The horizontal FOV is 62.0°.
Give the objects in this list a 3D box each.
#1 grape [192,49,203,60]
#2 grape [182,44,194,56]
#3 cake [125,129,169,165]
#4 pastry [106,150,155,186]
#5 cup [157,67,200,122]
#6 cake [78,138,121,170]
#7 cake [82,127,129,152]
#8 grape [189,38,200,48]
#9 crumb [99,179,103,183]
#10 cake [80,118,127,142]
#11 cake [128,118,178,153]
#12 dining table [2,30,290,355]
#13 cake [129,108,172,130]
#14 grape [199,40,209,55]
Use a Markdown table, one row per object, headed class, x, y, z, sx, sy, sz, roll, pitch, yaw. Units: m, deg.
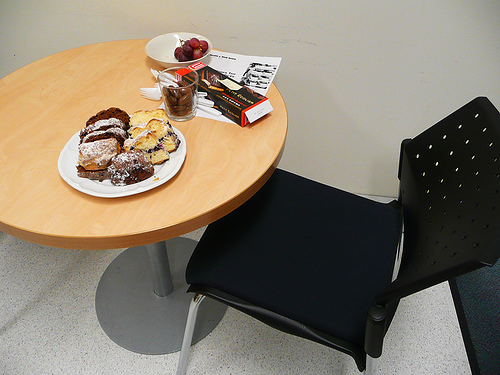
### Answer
| class | x | y | z | sx | sy | sz | roll | pitch | yaw |
| --- | --- | --- | --- | --- | --- | --- | --- | --- | --- |
| grape | -0.204 | -0.514 | 1.608 | 0.034 | 0.020 | 0.039 | -16 | 94 | -16 |
| grape | -0.239 | -0.525 | 1.596 | 0.026 | 0.031 | 0.038 | 11 | 41 | 20 |
| cake | -0.295 | -0.104 | 1.249 | 0.101 | 0.033 | 0.102 | 47 | 62 | -9 |
| pastry | -0.348 | -0.056 | 1.202 | 0.108 | 0.038 | 0.099 | -22 | 94 | -9 |
| cup | -0.243 | -0.315 | 1.440 | 0.125 | 0.152 | 0.148 | 0 | 39 | -3 |
| cake | -0.439 | -0.099 | 1.212 | 0.092 | 0.031 | 0.089 | -18 | 67 | -8 |
| cake | -0.450 | -0.161 | 1.336 | 0.123 | 0.179 | 0.068 | 2 | 88 | 4 |
| grape | -0.211 | -0.553 | 1.597 | 0.028 | 0.038 | 0.037 | 4 | 83 | 2 |
| crumb | -0.439 | -0.019 | 1.221 | 0.010 | 0.003 | 0.008 | 5 | 55 | -10 |
| cake | -0.455 | -0.187 | 1.281 | 0.100 | 0.037 | 0.082 | -22 | 31 | 2 |
| cake | -0.294 | -0.156 | 1.247 | 0.107 | 0.033 | 0.117 | -27 | 104 | 15 |
| dining table | -0.366 | 0.062 | 1.464 | 0.682 | 0.785 | 0.785 | 24 | 48 | 17 |
| cake | -0.314 | -0.215 | 1.326 | 0.084 | 0.030 | 0.100 | 11 | 38 | 16 |
| grape | -0.178 | -0.546 | 1.627 | 0.030 | 0.034 | 0.046 | -2 | 53 | 8 |
